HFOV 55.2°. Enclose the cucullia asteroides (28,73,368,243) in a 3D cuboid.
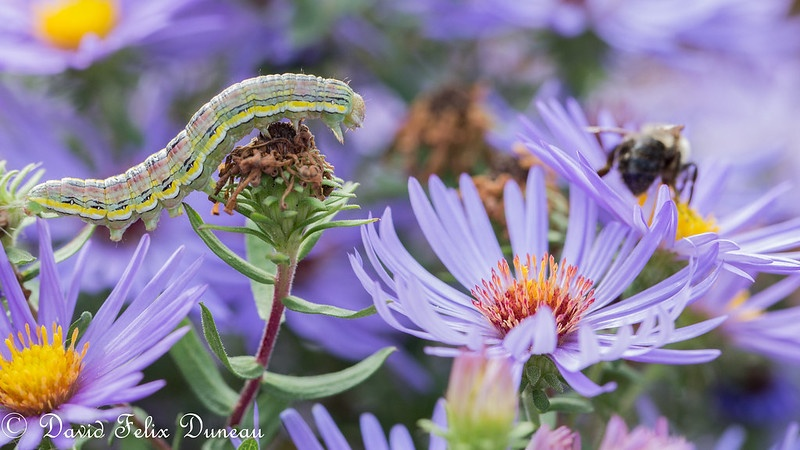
[{"bbox_3d":[-0.409,-0.144,1.551,0.659,0.242,0.116,-20,22,-23],"label":"cucullia asteroides"}]
